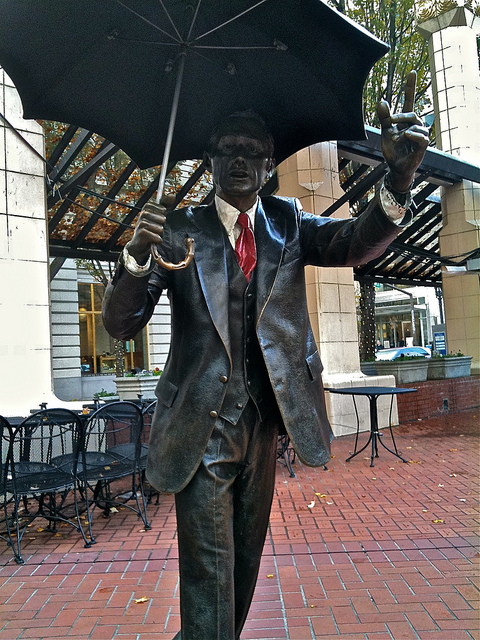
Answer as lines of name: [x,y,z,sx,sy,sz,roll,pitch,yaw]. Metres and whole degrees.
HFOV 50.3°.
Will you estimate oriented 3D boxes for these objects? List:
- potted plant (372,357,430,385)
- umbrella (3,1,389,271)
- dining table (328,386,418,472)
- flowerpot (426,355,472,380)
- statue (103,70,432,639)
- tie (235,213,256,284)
potted plant: [3.361,1.067,10.874,1.221,0.518,0.586,1,-5,-35]
umbrella: [-0.179,-0.821,1.735,0.938,0.783,0.918,15,-31,-22]
dining table: [1.894,1.557,7.520,1.121,0.990,1.059,7,-15,-24]
flowerpot: [4.894,1.129,12.133,1.408,0.504,0.432,0,-5,-33]
statue: [0.060,0.166,1.520,0.895,1.762,0.684,-1,-4,-15]
tie: [0.011,-0.232,1.659,0.067,0.258,0.033,-6,41,3]
